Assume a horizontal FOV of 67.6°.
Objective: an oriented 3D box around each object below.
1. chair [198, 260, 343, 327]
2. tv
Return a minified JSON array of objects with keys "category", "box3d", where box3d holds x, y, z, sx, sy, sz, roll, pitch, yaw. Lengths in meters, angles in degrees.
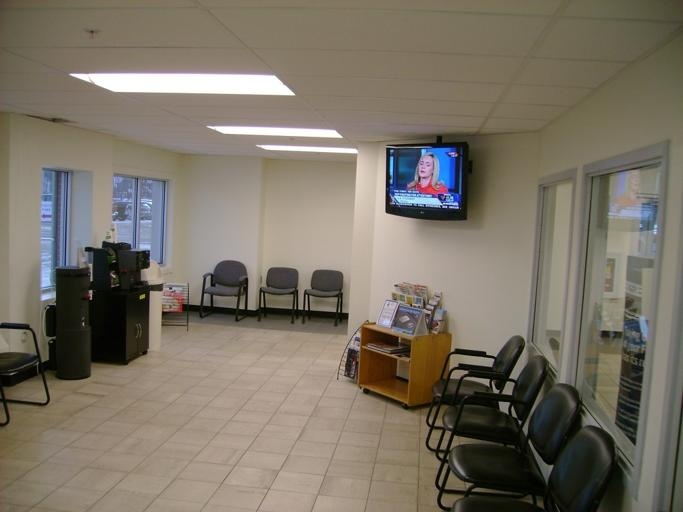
[{"category":"chair","box3d":[-1.273,0.622,9.067,2.571,1.008,0.790,2,9,-4]},{"category":"tv","box3d":[0.976,-0.835,5.606,0.809,0.719,0.091,5,13,30]}]
